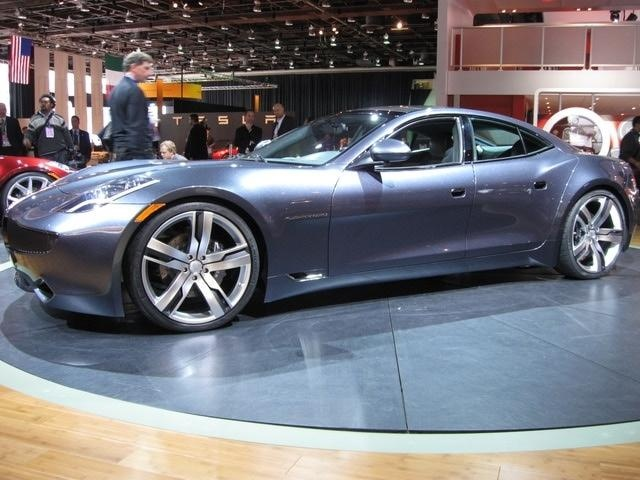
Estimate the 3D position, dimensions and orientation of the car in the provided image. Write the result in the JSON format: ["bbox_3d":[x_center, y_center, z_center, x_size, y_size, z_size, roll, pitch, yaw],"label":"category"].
[{"bbox_3d":[0.384,-0.183,3.728,4.866,0.932,1.821,-2,5,-17],"label":"car"}]

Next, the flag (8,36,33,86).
[{"bbox_3d":[-11.266,-6.857,17.436,0.748,1.950,1.910,-6,14,-28],"label":"flag"}]
